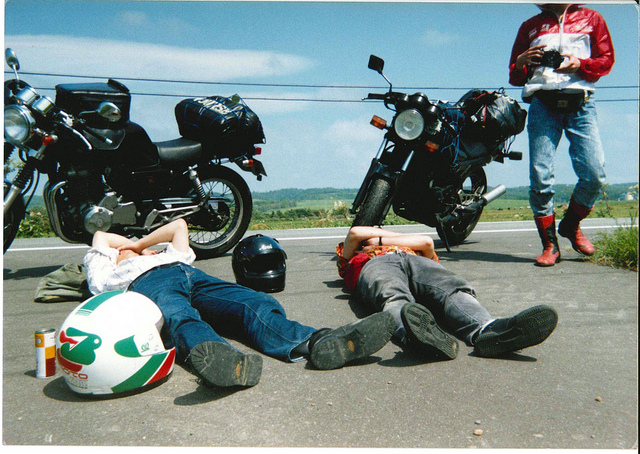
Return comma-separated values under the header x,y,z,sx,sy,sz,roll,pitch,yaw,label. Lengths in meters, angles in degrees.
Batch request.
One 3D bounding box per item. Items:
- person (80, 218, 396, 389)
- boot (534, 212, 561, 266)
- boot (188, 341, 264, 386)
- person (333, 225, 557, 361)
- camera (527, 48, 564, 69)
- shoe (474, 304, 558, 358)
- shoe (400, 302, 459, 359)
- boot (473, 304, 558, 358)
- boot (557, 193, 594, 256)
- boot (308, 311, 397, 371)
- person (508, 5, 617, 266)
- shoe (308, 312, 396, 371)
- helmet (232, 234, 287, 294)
x,y,z,sx,sy,sz,roll,pitch,yaw,label
-0.924,0.465,4.097,1.353,0.988,2.586,2,1,-43,person
2.646,0.131,6.146,0.280,0.585,0.435,1,9,23,boot
-0.623,0.910,3.336,0.186,0.279,0.553,-32,-44,28,boot
0.814,0.513,4.274,0.861,0.706,1.830,12,-5,-13,person
2.481,-1.853,5.860,0.140,0.228,0.393,-9,10,-38,camera
1.299,0.728,3.756,0.663,0.259,0.256,-9,-23,-22,shoe
0.749,0.725,3.637,0.095,0.512,0.267,-23,32,58,shoe
1.324,0.717,3.760,0.675,0.264,0.303,-22,3,13,boot
3.075,-0.026,6.288,0.405,0.736,0.378,-1,8,9,boot
0.212,0.738,3.698,0.709,0.279,0.316,-14,8,-9,boot
2.741,-1.035,6.000,1.033,2.929,0.629,0,9,17,person
0.220,0.721,3.693,0.718,0.274,0.318,-13,6,-11,shoe
-0.621,0.342,5.447,0.508,0.535,0.667,-8,11,-32,helmet
